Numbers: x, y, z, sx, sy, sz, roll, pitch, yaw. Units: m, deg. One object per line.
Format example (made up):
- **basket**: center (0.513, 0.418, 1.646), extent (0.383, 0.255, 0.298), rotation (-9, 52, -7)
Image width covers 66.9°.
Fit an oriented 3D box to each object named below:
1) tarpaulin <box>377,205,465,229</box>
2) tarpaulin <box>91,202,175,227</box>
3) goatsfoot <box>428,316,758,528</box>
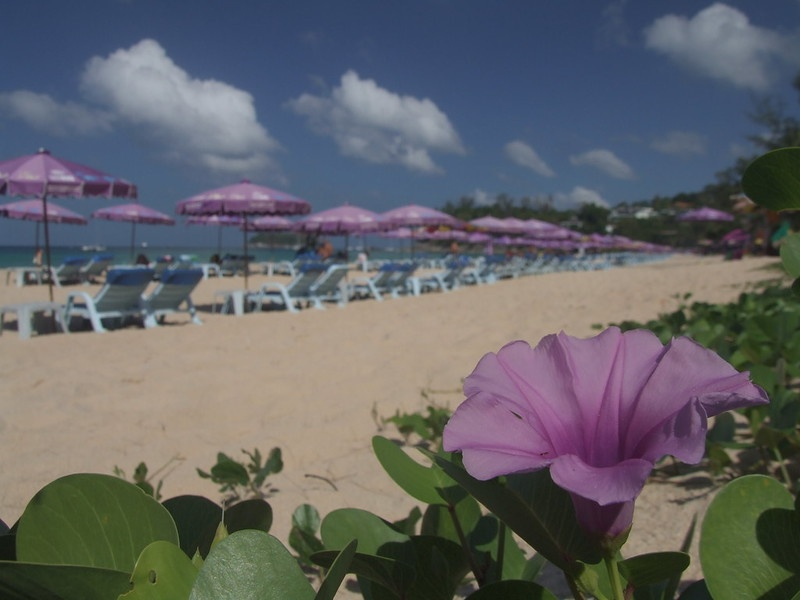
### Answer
- **tarpaulin**: center (0.547, -2.442, 17.848), extent (1.993, 0.743, 4.595), rotation (0, 9, 1)
- **tarpaulin**: center (-7.774, -2.520, 17.926), extent (1.062, 0.626, 1.856), rotation (5, 11, 30)
- **goatsfoot**: center (0.228, 0.149, 0.700), extent (0.333, 0.206, 0.280), rotation (5, 10, 27)
